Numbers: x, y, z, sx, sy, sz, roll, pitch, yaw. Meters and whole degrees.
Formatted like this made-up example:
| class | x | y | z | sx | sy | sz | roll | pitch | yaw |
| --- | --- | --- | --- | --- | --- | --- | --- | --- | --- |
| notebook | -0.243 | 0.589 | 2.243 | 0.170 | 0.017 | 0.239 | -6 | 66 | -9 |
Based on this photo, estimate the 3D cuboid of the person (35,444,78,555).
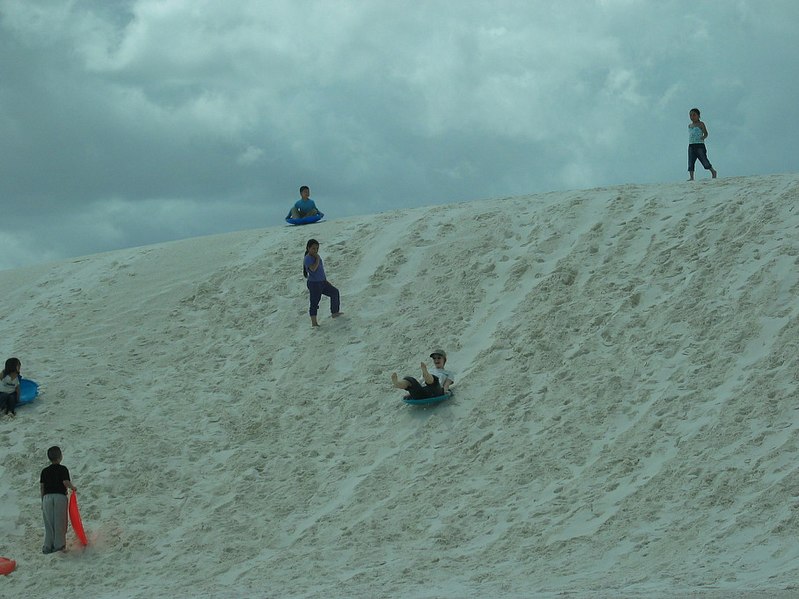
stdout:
| class | x | y | z | sx | sy | sz | roll | pitch | yaw |
| --- | --- | --- | --- | --- | --- | --- | --- | --- | --- |
| person | -5.086 | 3.095 | 18.252 | 0.635 | 1.150 | 0.339 | -11 | -4 | -8 |

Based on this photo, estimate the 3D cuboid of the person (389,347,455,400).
| class | x | y | z | sx | sy | sz | roll | pitch | yaw |
| --- | --- | --- | --- | --- | --- | --- | --- | --- | --- |
| person | 0.315 | 1.281 | 19.965 | 0.680 | 0.702 | 0.997 | -19 | -26 | 31 |
